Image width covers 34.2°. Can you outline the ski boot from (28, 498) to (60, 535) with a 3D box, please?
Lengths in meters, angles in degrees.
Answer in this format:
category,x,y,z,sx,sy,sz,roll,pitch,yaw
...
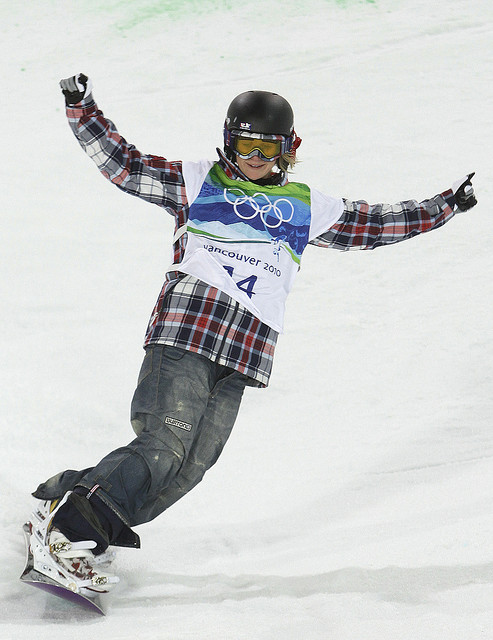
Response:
category,x,y,z,sx,sy,sz,roll,pitch,yaw
ski boot,-0.848,0.808,3.322,0.120,0.157,0.058,18,-30,53

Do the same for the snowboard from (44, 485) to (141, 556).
category,x,y,z,sx,sy,sz,roll,pitch,yaw
snowboard,-0.580,0.796,3.149,0.355,0.260,0.137,10,11,-4

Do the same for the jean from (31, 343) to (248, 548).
category,x,y,z,sx,sy,sz,roll,pitch,yaw
jean,-0.354,0.523,3.441,0.434,0.808,0.715,16,10,10

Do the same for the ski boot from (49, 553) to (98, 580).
category,x,y,z,sx,sy,sz,roll,pitch,yaw
ski boot,-0.664,0.969,3.191,0.174,0.072,0.102,9,-28,17
